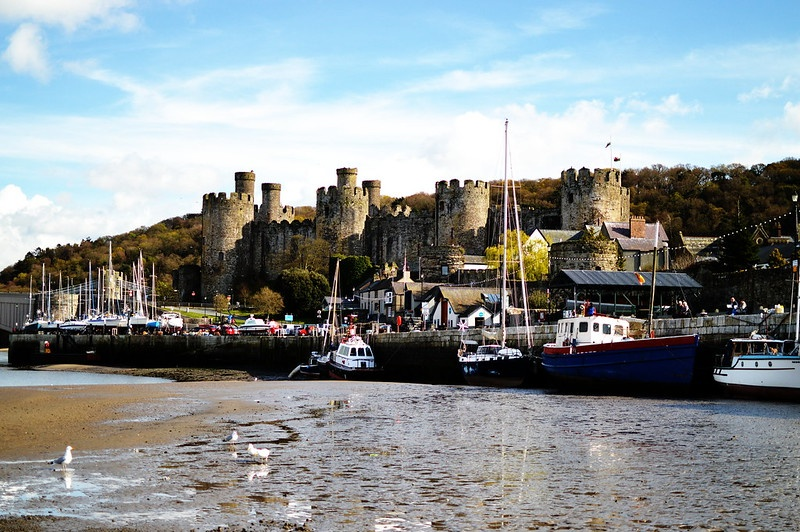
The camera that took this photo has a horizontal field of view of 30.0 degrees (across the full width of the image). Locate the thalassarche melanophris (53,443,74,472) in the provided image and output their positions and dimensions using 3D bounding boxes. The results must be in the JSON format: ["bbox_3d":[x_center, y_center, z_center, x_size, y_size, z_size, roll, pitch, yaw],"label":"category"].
[{"bbox_3d":[-9.941,5.587,43.376,0.797,0.672,0.403,-3,4,-1],"label":"thalassarche melanophris"}]

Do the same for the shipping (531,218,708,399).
[{"bbox_3d":[8.014,1.513,54.588,2.611,5.954,7.356,9,-12,-36],"label":"shipping"}]
